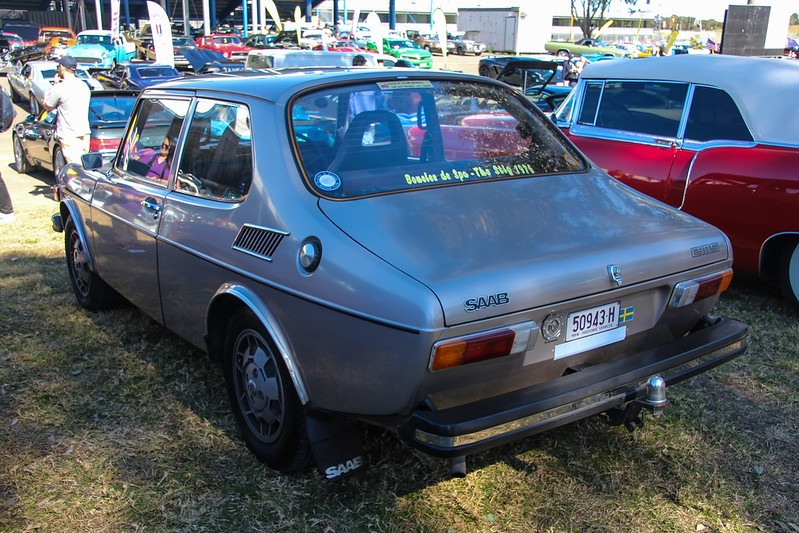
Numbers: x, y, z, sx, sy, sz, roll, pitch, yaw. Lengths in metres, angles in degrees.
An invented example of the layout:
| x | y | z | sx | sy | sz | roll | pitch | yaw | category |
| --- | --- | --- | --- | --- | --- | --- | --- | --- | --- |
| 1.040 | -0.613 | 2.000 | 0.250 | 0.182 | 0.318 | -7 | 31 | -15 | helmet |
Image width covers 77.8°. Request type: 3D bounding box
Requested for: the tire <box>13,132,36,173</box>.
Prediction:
| x | y | z | sx | sy | sz | roll | pitch | yaw | category |
| --- | --- | --- | --- | --- | --- | --- | --- | --- | --- |
| -7.919 | -2.426 | 10.510 | 0.263 | 0.784 | 0.772 | -8 | 16 | -43 | tire |

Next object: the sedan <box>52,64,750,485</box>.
| x | y | z | sx | sy | sz | roll | pitch | yaw | category |
| --- | --- | --- | --- | --- | --- | --- | --- | --- | --- |
| -0.489 | -0.318 | 3.336 | 4.033 | 1.438 | 2.240 | 22 | 27 | 38 | sedan |

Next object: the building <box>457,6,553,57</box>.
| x | y | z | sx | sy | sz | roll | pitch | yaw | category |
| --- | --- | --- | --- | --- | --- | --- | --- | --- | --- |
| 10.300 | -19.978 | 41.978 | 5.269 | 4.424 | 9.027 | -12 | 28 | -30 | building |

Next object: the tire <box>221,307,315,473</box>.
| x | y | z | sx | sy | sz | roll | pitch | yaw | category |
| --- | --- | --- | --- | --- | --- | --- | --- | --- | --- |
| -0.726 | 0.700 | 2.807 | 0.254 | 0.841 | 0.783 | -12 | 25 | -41 | tire |

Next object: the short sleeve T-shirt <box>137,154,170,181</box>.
| x | y | z | sx | sy | sz | roll | pitch | yaw | category |
| --- | --- | --- | --- | --- | --- | --- | --- | --- | --- |
| -1.809 | -0.728 | 3.676 | 0.176 | 0.235 | 0.128 | 25 | 9 | 2 | short sleeve T-shirt |

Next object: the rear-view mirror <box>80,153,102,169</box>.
| x | y | z | sx | sy | sz | roll | pitch | yaw | category |
| --- | --- | --- | --- | --- | --- | --- | --- | --- | --- |
| -2.746 | -0.946 | 4.435 | 0.185 | 0.158 | 0.032 | 0 | -4 | -5 | rear-view mirror |
